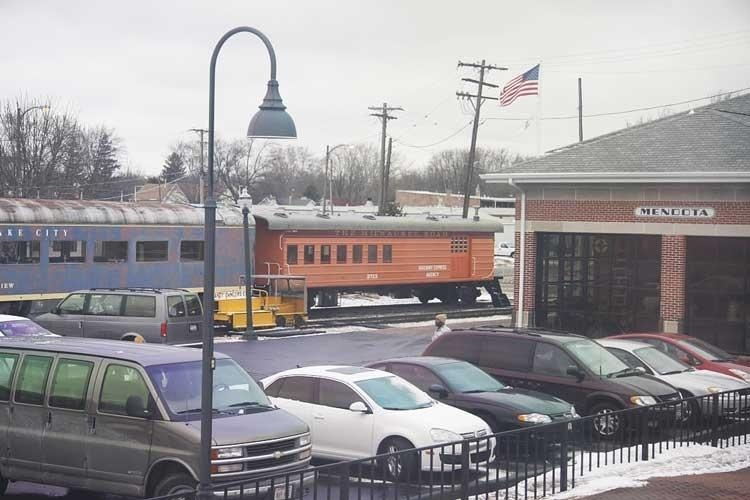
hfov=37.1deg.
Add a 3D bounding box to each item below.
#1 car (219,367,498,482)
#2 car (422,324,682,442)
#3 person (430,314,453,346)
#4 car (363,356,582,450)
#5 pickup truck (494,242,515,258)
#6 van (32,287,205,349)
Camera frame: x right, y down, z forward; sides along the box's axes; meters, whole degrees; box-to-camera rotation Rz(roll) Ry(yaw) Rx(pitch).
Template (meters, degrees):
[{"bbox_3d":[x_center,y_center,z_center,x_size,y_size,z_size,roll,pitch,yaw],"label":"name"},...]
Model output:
[{"bbox_3d":[0.145,3.692,24.193,4.724,1.636,2.315,-1,-1,33],"label":"car"},{"bbox_3d":[4.243,3.127,26.759,5.288,1.834,2.397,0,0,26],"label":"car"},{"bbox_3d":[1.949,2.388,33.174,0.769,1.242,1.398,2,0,5],"label":"person"},{"bbox_3d":[2.267,3.410,25.480,4.100,1.320,2.051,-2,-3,42],"label":"car"},{"bbox_3d":[9.885,0.050,85.585,2.112,1.058,1.186,-6,-2,33],"label":"pickup truck"},{"bbox_3d":[-7.690,2.028,33.588,4.494,1.950,2.225,3,1,22],"label":"van"}]
